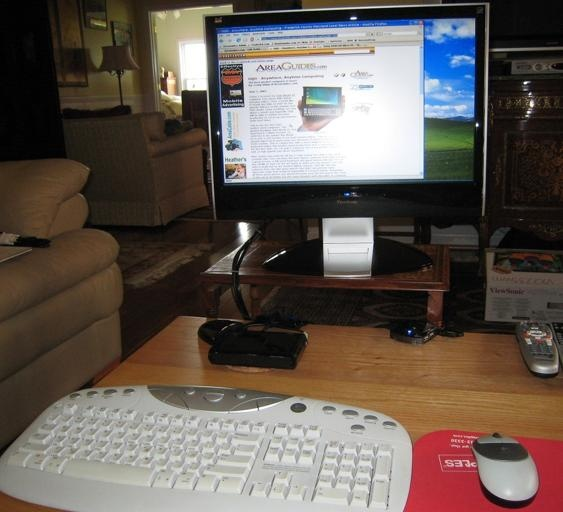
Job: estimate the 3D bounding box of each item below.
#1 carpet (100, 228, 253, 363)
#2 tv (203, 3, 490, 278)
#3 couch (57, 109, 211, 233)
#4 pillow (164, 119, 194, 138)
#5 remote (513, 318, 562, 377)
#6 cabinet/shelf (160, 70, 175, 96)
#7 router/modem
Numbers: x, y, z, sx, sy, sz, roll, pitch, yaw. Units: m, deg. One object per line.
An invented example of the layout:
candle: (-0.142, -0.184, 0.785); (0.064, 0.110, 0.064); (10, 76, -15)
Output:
carpet: (-0.671, 0.284, 3.160); (0.771, 0.221, 1.037); (1, 25, 2)
tv: (0.152, -0.326, 1.138); (0.650, 0.478, 0.160); (3, 22, 13)
couch: (-1.114, -0.871, 4.544); (1.162, 1.021, 1.218); (6, 23, 16)
pillow: (-1.005, -1.226, 4.603); (0.143, 0.132, 0.387); (14, 25, 23)
remote: (0.376, 0.133, 0.704); (0.044, 0.019, 0.086); (0, 26, 14)
cabinet/shelf: (-2.421, -3.720, 10.313); (0.283, 0.480, 0.426); (-3, 20, -2)
router/modem: (-0.036, 0.145, 0.759); (0.087, 0.016, 0.077); (3, 14, 10)
